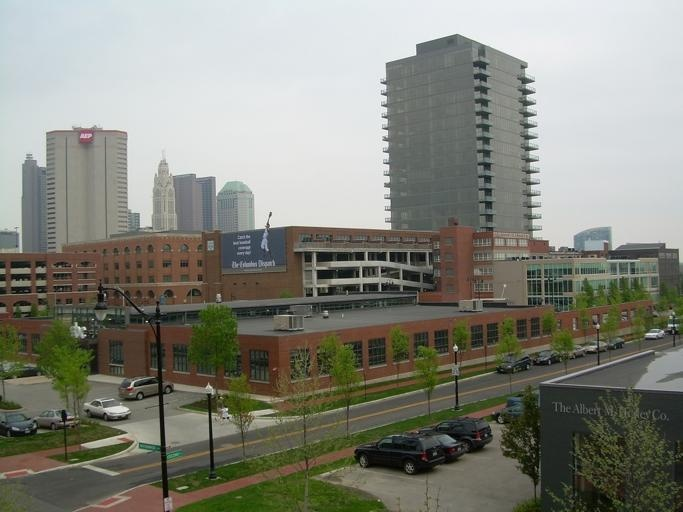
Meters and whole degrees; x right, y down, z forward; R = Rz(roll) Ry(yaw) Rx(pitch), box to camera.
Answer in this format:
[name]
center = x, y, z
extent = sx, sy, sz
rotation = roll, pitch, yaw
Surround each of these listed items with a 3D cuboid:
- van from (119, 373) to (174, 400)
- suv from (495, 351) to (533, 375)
[van]
center = -18.850, 13.003, 88.273
extent = 5.537, 1.928, 2.416
rotation = -6, 6, -40
[suv]
center = 18.332, 11.346, 95.326
extent = 3.827, 1.451, 1.888
rotation = 5, -9, -44
